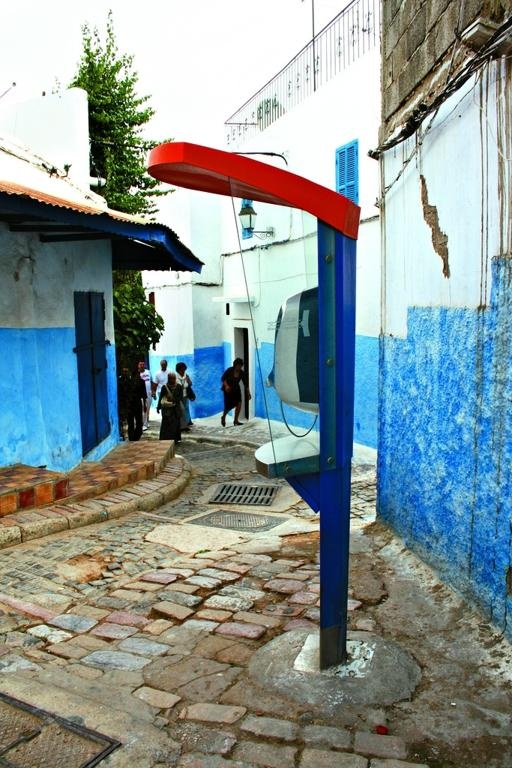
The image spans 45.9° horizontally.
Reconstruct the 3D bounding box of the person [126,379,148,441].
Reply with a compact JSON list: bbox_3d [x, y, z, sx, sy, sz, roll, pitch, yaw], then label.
[{"bbox_3d":[-2.420,0.446,11.991,0.373,1.299,0.740,-1,-1,-12],"label":"person"}]

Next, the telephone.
[{"bbox_3d":[0.153,-0.143,2.583,0.240,0.517,0.164,-1,-1,12],"label":"telephone"}]

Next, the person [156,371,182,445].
[{"bbox_3d":[-1.555,0.416,10.714,0.437,1.229,1.203,-1,-1,-8],"label":"person"}]

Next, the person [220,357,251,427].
[{"bbox_3d":[-0.437,0.058,10.990,0.554,1.399,0.488,0,1,38],"label":"person"}]
